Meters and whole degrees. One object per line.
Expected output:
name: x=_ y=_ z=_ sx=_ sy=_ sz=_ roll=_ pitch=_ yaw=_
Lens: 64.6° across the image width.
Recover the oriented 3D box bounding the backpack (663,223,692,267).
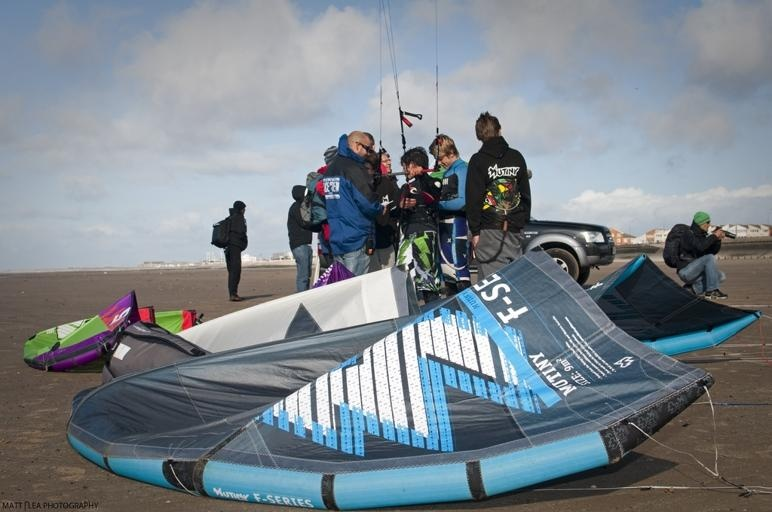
backpack: x=4.192 y=-0.128 z=8.771 sx=0.388 sy=0.757 sz=0.556 roll=4 pitch=6 yaw=31

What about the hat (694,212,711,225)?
hat: x=4.436 y=-0.519 z=8.613 sx=0.182 sy=0.204 sz=0.465 roll=3 pitch=11 yaw=26

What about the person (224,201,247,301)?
person: x=-2.899 y=-0.063 z=11.857 sx=0.432 sy=2.005 sz=1.479 roll=-4 pitch=10 yaw=-15

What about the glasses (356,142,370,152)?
glasses: x=-0.222 y=-1.090 z=6.102 sx=0.084 sy=0.026 sz=0.083 roll=31 pitch=5 yaw=19

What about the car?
car: x=3.031 y=-0.084 z=10.923 sx=2.992 sy=1.410 sz=1.547 roll=-4 pitch=4 yaw=2

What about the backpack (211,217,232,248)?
backpack: x=-3.165 y=-0.420 z=11.754 sx=0.362 sy=0.637 sz=0.462 roll=-4 pitch=10 yaw=-15
